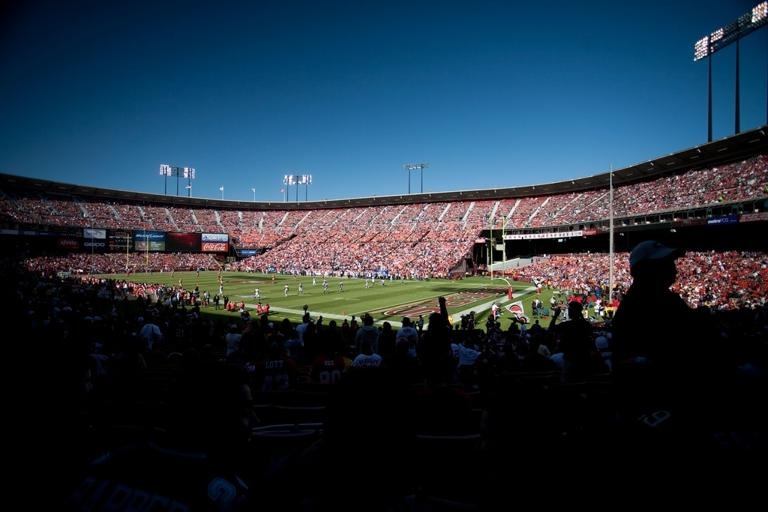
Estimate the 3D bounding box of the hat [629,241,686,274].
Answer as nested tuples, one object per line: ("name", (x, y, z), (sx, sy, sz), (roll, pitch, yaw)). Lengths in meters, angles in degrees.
("hat", (4.455, -0.045, 9.603), (0.799, 0.447, 0.489), (-27, -5, 18))
